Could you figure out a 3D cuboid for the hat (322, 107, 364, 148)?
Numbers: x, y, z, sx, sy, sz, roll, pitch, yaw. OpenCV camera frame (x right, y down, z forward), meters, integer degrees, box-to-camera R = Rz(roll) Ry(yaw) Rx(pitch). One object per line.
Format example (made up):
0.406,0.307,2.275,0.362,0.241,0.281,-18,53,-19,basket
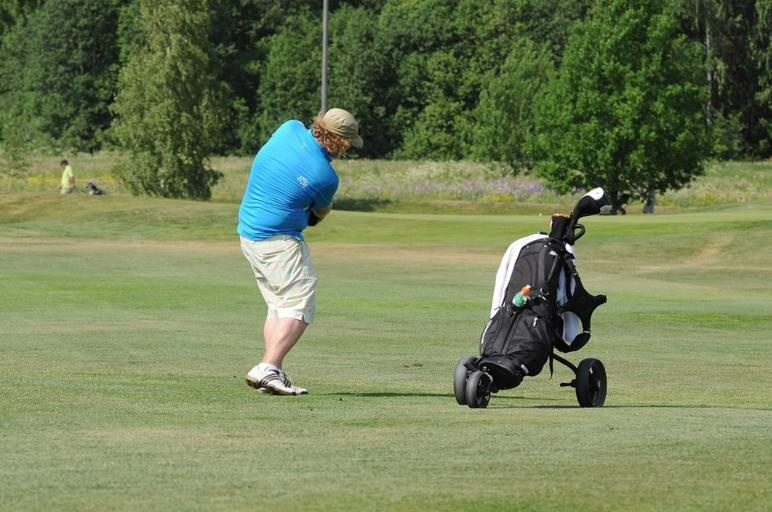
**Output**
-1.181,-3.750,52.157,1.368,0.652,0.896,24,22,-17,hat
